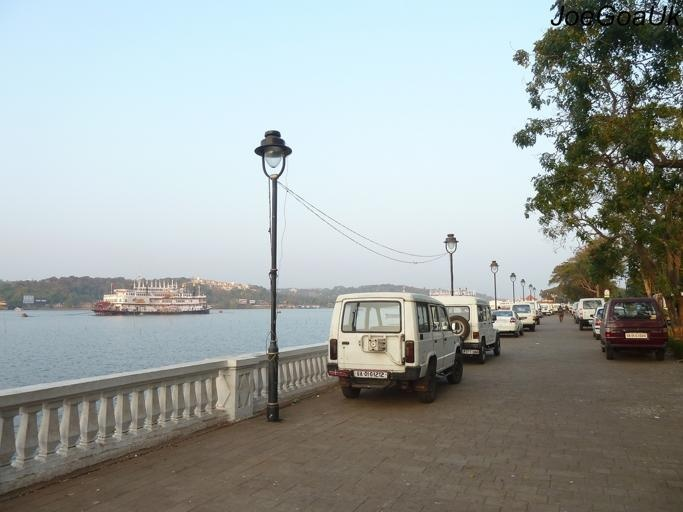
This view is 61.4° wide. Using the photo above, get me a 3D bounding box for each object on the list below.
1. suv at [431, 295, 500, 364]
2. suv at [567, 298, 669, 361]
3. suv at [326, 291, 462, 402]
[{"bbox_3d":[4.403,2.363,20.105,1.841,1.853,3.764,-3,-4,22],"label":"suv"},{"bbox_3d":[10.023,2.384,20.138,1.568,1.439,2.949,-1,-1,17],"label":"suv"},{"bbox_3d":[1.250,1.985,12.762,1.785,2.351,3.098,-4,-5,33],"label":"suv"}]
